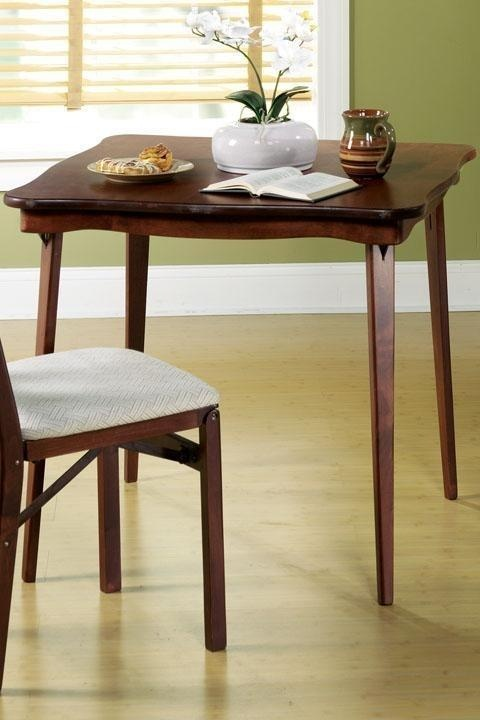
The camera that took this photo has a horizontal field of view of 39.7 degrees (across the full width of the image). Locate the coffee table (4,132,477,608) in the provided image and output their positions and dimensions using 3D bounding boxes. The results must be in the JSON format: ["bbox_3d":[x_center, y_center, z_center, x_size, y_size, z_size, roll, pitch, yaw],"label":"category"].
[{"bbox_3d":[-0.030,-0.089,1.706,1.175,1.050,1.043,3,14,15],"label":"coffee table"}]

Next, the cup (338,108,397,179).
[{"bbox_3d":[0.249,-0.451,1.386,0.101,0.124,0.165,-4,19,-9],"label":"cup"}]

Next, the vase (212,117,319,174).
[{"bbox_3d":[0.053,-0.436,1.462,0.160,0.070,0.158,-6,10,-39],"label":"vase"}]
